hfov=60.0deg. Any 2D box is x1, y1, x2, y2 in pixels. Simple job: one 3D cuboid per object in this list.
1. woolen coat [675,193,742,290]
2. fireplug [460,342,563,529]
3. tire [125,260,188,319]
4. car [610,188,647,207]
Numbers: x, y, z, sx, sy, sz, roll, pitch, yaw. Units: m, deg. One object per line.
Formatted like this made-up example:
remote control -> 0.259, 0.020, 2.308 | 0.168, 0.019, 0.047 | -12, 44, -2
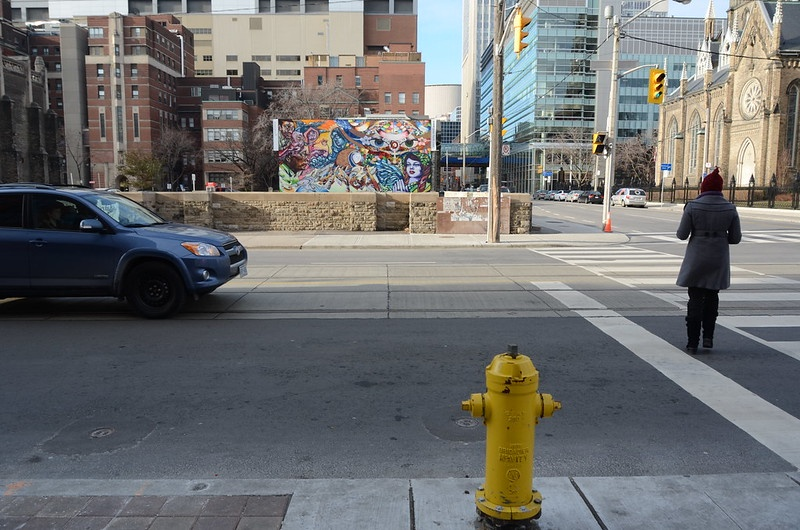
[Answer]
woolen coat -> 4.392, -0.336, 9.962 | 0.870, 1.346, 0.695 | -1, 15, 1
fireplug -> 0.973, 1.551, 6.378 | 0.791, 1.640, 0.509 | 2, 15, 11
tire -> -4.069, 0.361, 11.591 | 1.014, 0.953, 0.345 | 0, 7, -1
car -> 18.308, -5.226, 55.515 | 1.907, 1.278, 3.940 | 1, 9, 4
